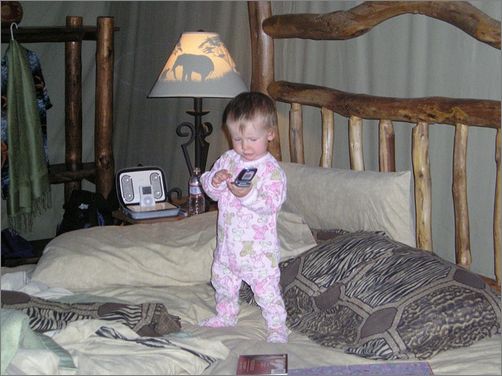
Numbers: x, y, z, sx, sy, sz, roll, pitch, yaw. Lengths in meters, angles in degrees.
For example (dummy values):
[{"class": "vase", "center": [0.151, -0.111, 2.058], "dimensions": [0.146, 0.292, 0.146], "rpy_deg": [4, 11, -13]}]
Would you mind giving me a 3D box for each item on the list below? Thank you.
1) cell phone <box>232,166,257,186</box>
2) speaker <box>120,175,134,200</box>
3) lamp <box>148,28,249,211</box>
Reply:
[{"class": "cell phone", "center": [-0.005, -0.040, 2.019], "dimensions": [0.074, 0.071, 0.141], "rpy_deg": [2, 2, 26]}, {"class": "speaker", "center": [-0.653, -0.004, 2.884], "dimensions": [0.056, 0.134, 0.128], "rpy_deg": [-7, -21, -11]}, {"class": "lamp", "center": [-0.294, -0.402, 2.998], "dimensions": [0.501, 0.921, 0.500], "rpy_deg": [-11, 25, -34]}]
